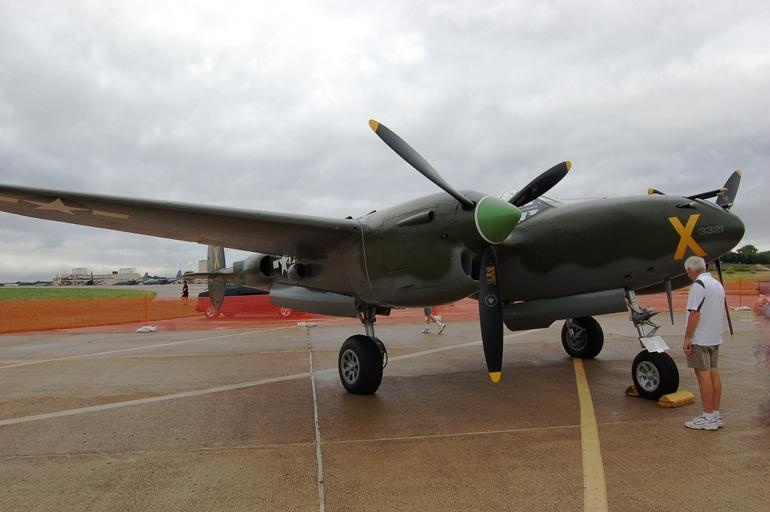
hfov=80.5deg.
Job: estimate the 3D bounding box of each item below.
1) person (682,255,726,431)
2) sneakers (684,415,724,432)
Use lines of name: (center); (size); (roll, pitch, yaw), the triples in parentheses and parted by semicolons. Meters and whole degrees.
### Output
person: (4.830, 1.278, 6.873); (0.488, 2.538, 0.694); (0, 4, 32)
sneakers: (4.712, 2.456, 6.804); (0.611, 0.246, 0.205); (2, -1, 10)
